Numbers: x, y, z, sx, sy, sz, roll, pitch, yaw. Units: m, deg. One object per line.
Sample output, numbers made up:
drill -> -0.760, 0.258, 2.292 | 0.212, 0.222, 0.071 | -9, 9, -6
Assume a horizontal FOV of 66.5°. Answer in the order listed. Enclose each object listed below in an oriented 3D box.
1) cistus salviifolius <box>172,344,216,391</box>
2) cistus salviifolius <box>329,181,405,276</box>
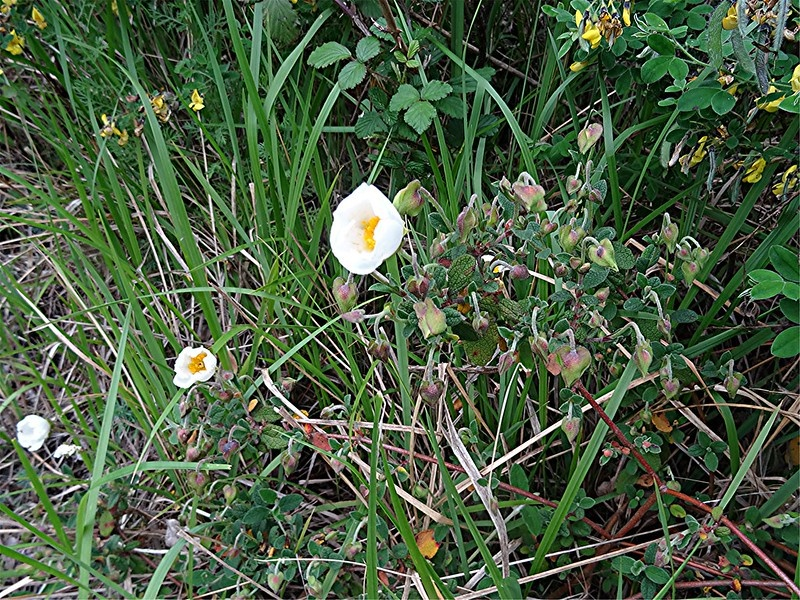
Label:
cistus salviifolius -> -0.758, 0.254, 2.264 | 0.160, 0.148, 0.122 | -11, 48, -8
cistus salviifolius -> -0.115, -0.182, 1.819 | 0.198, 0.240, 0.237 | -29, 54, -23
